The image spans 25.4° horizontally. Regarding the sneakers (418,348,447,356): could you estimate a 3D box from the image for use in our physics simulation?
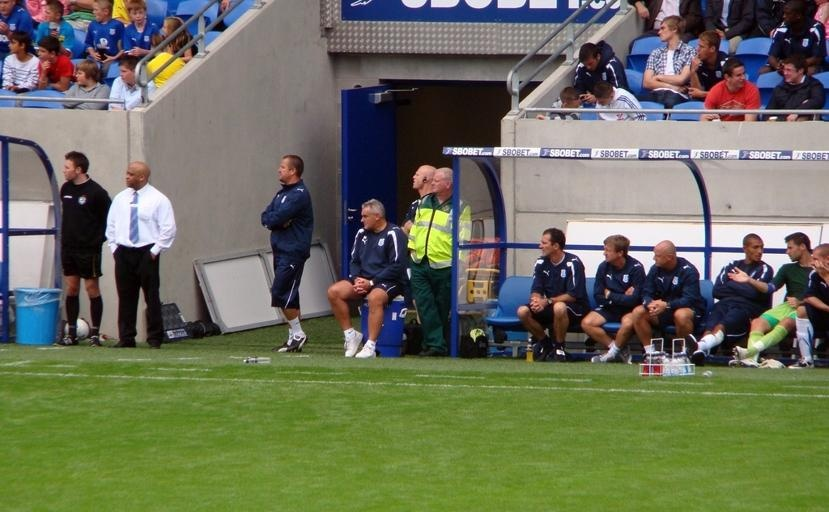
[{"bbox_3d":[0.230,1.120,21.367,0.310,0.112,0.098,4,-1,-4],"label":"sneakers"}]

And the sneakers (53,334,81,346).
[{"bbox_3d":[-4.102,1.007,21.691,0.321,0.117,0.101,4,4,11],"label":"sneakers"}]

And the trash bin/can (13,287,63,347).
[{"bbox_3d":[-4.523,0.746,21.839,0.694,0.605,0.644,2,-10,-19],"label":"trash bin/can"}]

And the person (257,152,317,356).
[{"bbox_3d":[-1.480,-0.024,21.414,0.563,2.279,0.531,-1,-4,3],"label":"person"}]

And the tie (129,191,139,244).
[{"bbox_3d":[-3.225,-0.428,21.094,0.102,0.573,0.073,0,-4,-9],"label":"tie"}]

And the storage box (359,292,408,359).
[{"bbox_3d":[-0.386,0.834,21.297,0.740,0.666,0.501,1,-5,8],"label":"storage box"}]

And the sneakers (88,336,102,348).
[{"bbox_3d":[-3.751,1.026,21.659,0.083,0.091,0.234,-1,-11,19],"label":"sneakers"}]

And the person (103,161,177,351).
[{"bbox_3d":[-3.188,0.157,21.306,0.777,1.813,0.620,0,-4,-9],"label":"person"}]
